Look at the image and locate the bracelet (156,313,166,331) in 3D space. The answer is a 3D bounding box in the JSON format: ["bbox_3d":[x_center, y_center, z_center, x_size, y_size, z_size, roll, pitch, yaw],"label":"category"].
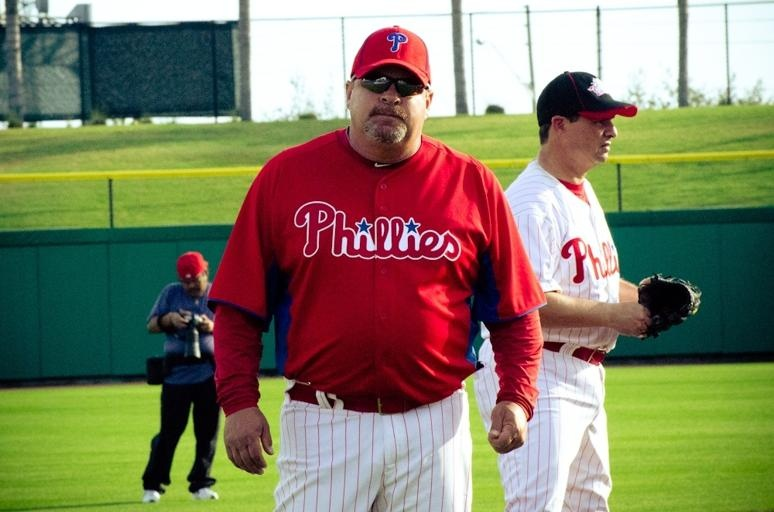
[{"bbox_3d":[-3.210,0.967,19.333,0.043,0.183,0.188,-3,-16,14],"label":"bracelet"}]

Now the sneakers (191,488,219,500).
[{"bbox_3d":[-2.539,3.344,18.939,0.260,0.102,0.191,6,0,1],"label":"sneakers"}]

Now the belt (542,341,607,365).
[{"bbox_3d":[2.370,1.220,17.131,0.518,0.163,0.399,17,-7,7],"label":"belt"}]

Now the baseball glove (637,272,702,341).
[{"bbox_3d":[3.625,0.483,17.346,0.513,0.352,0.686,21,-27,-3],"label":"baseball glove"}]

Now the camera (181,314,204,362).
[{"bbox_3d":[-2.712,1.144,19.318,0.220,0.612,0.251,-20,-24,21],"label":"camera"}]

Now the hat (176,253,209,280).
[{"bbox_3d":[-2.783,0.119,19.525,0.307,0.279,0.459,-7,34,14],"label":"hat"}]

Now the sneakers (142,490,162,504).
[{"bbox_3d":[-3.282,3.353,18.844,0.141,0.137,0.218,7,-12,3],"label":"sneakers"}]
